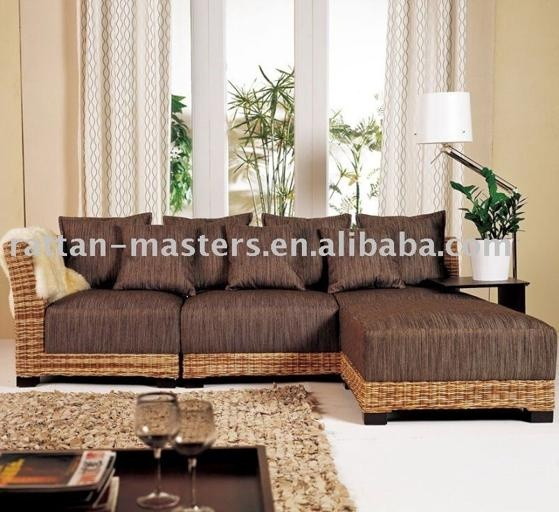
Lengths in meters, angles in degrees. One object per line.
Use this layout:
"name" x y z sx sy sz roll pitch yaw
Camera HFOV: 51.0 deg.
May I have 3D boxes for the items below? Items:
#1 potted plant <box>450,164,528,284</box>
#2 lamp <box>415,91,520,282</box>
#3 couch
"potted plant" 1.325 -0.184 3.712 0.422 0.695 0.342 -1 1 30
"lamp" 1.317 -0.520 4.215 0.813 1.337 0.369 -12 18 -29
"couch" -0.004 0.250 3.444 2.881 0.990 1.259 2 4 16
